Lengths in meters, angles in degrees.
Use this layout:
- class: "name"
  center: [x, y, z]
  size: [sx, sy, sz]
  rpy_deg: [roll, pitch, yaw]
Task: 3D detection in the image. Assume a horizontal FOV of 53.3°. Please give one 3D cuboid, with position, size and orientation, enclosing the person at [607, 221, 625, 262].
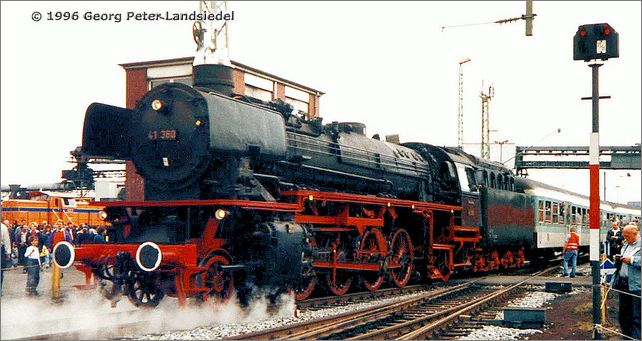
- class: "person"
  center: [12.866, 3.238, 27.867]
  size: [0.668, 2.000, 0.646]
  rpy_deg: [1, 19, 21]

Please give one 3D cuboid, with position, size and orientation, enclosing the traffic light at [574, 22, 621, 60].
- class: "traffic light"
  center: [8.743, -4.090, 20.326]
  size: [0.246, 1.187, 1.445]
  rpy_deg: [-15, 14, -37]
